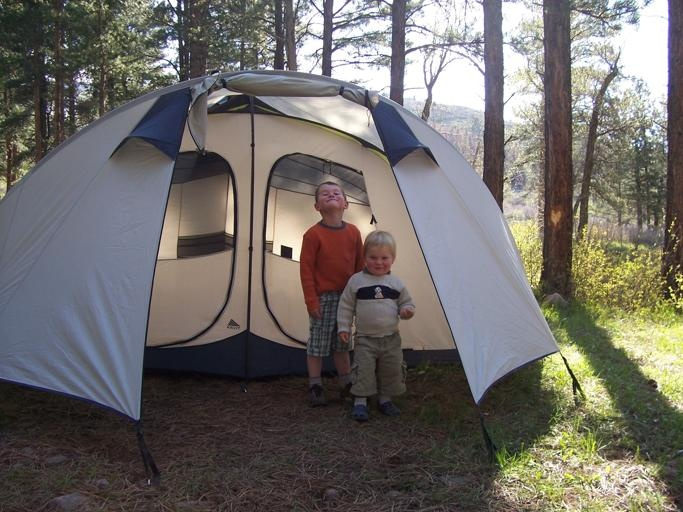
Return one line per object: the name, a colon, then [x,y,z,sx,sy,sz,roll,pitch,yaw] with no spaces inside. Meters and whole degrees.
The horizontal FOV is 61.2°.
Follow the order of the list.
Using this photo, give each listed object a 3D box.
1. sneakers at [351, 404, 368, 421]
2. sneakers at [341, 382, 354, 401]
sneakers: [0.153,1.268,4.706,0.131,0.101,0.162,0,13,3]
sneakers: [0.042,1.189,5.057,0.064,0.186,0.124,13,-1,-38]
